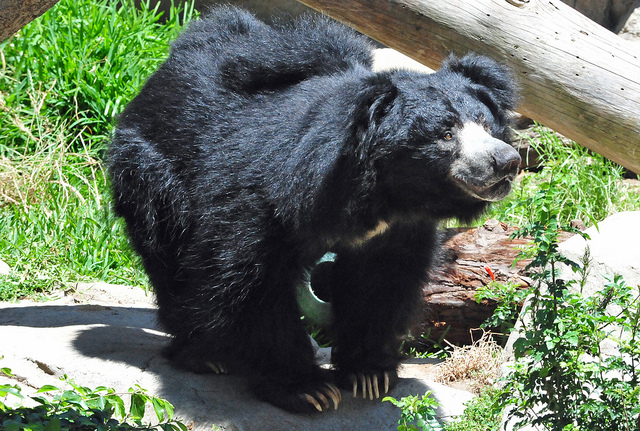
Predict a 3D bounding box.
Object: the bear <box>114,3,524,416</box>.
[{"bbox_3d":[-0.021,-0.292,5.654,2.138,2.501,3.436,-11,20,-40],"label":"bear"}]
